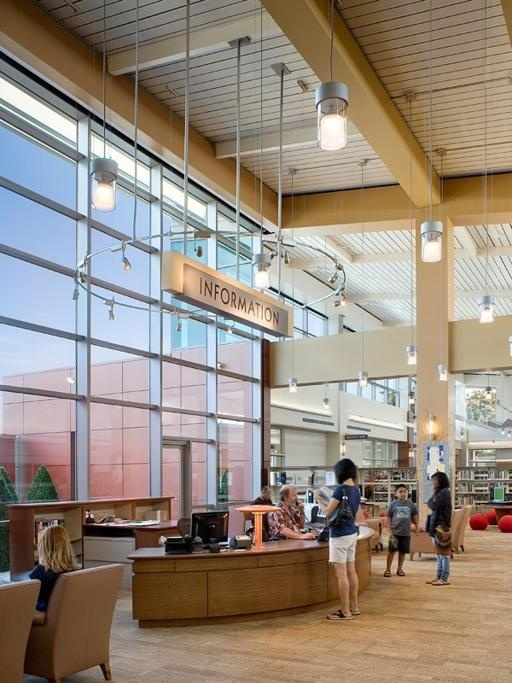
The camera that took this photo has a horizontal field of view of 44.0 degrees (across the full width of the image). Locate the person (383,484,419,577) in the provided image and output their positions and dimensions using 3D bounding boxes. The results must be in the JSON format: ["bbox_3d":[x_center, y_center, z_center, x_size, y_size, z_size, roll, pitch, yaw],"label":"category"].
[{"bbox_3d":[1.974,2.599,8.688,0.444,1.210,0.699,-1,-9,12],"label":"person"}]

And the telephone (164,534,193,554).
[{"bbox_3d":[-0.687,1.836,5.696,0.247,0.125,0.231,3,-9,-12],"label":"telephone"}]

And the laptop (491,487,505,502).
[{"bbox_3d":[7.357,4.671,19.304,0.288,0.557,0.410,10,-11,-33],"label":"laptop"}]

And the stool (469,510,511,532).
[{"bbox_3d":[6.136,4.756,16.618,0.722,0.285,0.744,-3,-9,28],"label":"stool"}]

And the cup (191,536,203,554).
[{"bbox_3d":[-0.516,1.832,5.684,0.107,0.146,0.109,1,1,0],"label":"cup"}]

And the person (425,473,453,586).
[{"bbox_3d":[2.352,2.386,8.112,0.319,1.391,0.740,-2,-9,16],"label":"person"}]

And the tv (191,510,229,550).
[{"bbox_3d":[-0.425,1.755,5.871,0.370,0.329,0.161,6,-4,-35],"label":"tv"}]

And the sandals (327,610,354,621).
[{"bbox_3d":[0.755,2.469,5.720,0.238,0.066,0.271,-2,-9,14],"label":"sandals"}]

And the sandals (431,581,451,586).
[{"bbox_3d":[2.303,3.018,7.905,0.211,0.081,0.077,9,-16,-16],"label":"sandals"}]

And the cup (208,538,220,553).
[{"bbox_3d":[-0.383,1.866,5.764,0.073,0.073,0.073,1,-2,0],"label":"cup"}]

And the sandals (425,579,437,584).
[{"bbox_3d":[2.198,3.019,7.993,0.061,0.058,0.154,10,-8,-30],"label":"sandals"}]

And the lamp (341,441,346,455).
[{"bbox_3d":[2.911,3.586,21.040,0.124,0.490,0.513,2,0,14],"label":"lamp"}]

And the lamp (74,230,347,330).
[{"bbox_3d":[-0.769,-0.995,9.483,2.043,0.512,2.019,9,-11,-42],"label":"lamp"}]

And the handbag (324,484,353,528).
[{"bbox_3d":[0.749,1.511,5.713,0.225,0.376,0.198,-1,-9,9],"label":"handbag"}]
